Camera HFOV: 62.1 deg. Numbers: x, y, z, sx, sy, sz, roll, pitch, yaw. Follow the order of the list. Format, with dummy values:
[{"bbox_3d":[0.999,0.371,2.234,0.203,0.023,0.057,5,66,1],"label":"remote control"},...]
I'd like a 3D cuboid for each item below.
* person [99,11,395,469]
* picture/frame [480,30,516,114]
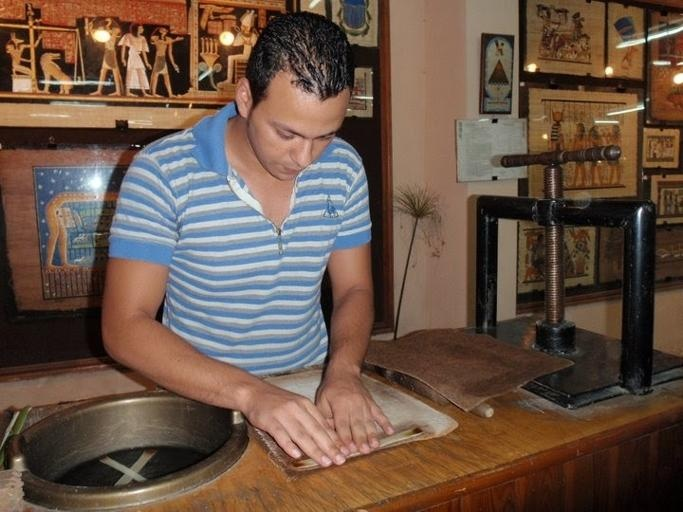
[{"bbox_3d":[-0.266,-0.108,1.562,0.753,1.043,0.732,-2,6,4],"label":"person"},{"bbox_3d":[0.954,-1.130,3.524,0.216,0.455,0.057,-5,7,-17],"label":"picture/frame"}]
